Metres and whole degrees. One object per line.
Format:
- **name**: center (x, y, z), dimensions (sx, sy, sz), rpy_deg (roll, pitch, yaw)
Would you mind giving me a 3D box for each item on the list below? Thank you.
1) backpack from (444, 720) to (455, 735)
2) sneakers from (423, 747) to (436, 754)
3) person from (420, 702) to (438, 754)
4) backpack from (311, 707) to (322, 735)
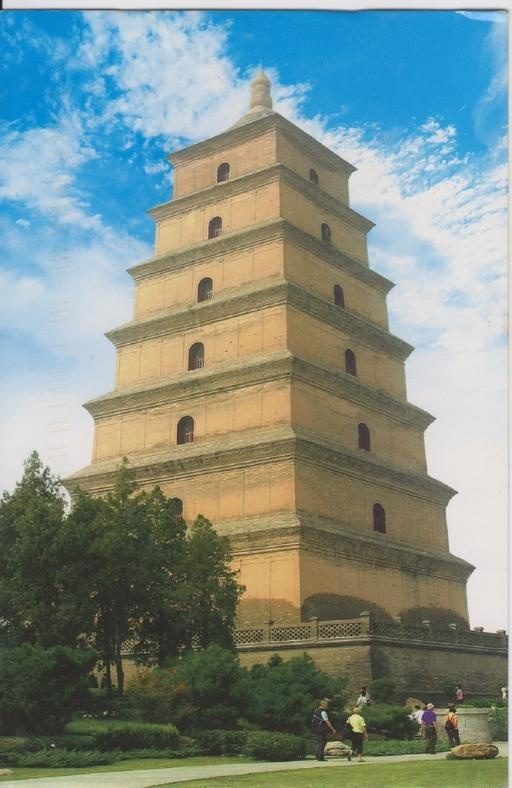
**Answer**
- **backpack**: center (3.307, 5.787, 14.117), dimensions (0.096, 0.236, 0.178), rpy_deg (-12, 0, 27)
- **sneakers**: center (2.936, 6.087, 13.919), dimensions (0.125, 0.114, 0.108), rpy_deg (19, -35, -41)
- **person**: center (2.938, 5.746, 14.052), dimensions (0.254, 0.838, 0.801), rpy_deg (3, -11, 11)
- **backpack**: center (0.929, 4.989, 12.438), dimensions (0.143, 0.402, 0.277), rpy_deg (4, -11, 4)
